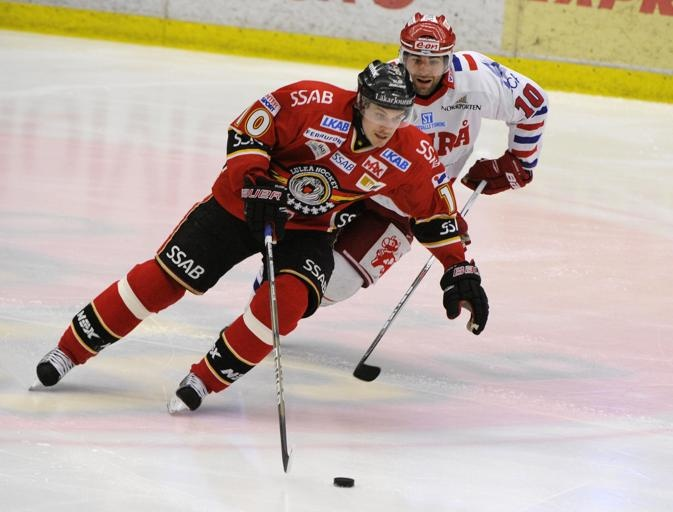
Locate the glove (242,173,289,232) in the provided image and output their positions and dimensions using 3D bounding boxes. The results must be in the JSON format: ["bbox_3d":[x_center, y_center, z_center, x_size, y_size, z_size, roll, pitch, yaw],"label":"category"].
[{"bbox_3d":[-0.246,-0.186,2.908,0.176,0.186,0.086,10,6,17],"label":"glove"}]

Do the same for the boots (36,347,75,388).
[{"bbox_3d":[-0.977,0.388,2.886,0.092,0.116,0.184,8,14,5],"label":"boots"}]

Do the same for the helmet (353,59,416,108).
[{"bbox_3d":[0.176,-0.607,2.947,0.221,0.185,0.216,-4,32,-18],"label":"helmet"}]

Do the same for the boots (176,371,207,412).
[{"bbox_3d":[-0.500,0.477,2.833,0.105,0.117,0.129,4,15,-7],"label":"boots"}]

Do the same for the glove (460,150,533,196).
[{"bbox_3d":[0.733,-0.369,3.851,0.263,0.087,0.261,27,-34,-37],"label":"glove"}]

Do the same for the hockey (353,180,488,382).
[{"bbox_3d":[0.336,0.130,3.466,0.052,1.156,0.175,47,-9,-14],"label":"hockey"}]
